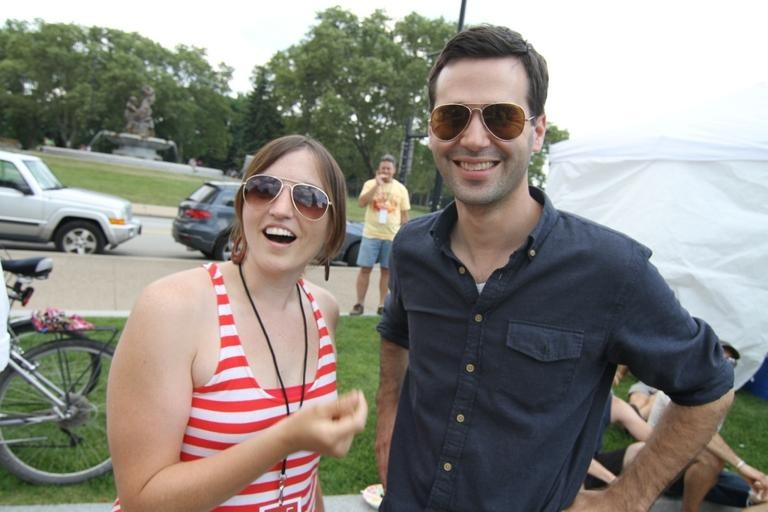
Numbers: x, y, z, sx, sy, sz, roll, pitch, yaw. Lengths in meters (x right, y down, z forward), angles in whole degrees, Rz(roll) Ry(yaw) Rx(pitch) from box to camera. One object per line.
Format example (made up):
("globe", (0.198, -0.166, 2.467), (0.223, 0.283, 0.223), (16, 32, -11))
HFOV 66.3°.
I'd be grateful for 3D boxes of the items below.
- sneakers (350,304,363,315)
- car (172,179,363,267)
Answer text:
("sneakers", (-0.421, 0.827, 9.025), (0.093, 0.115, 0.268), (1, -5, 23))
("car", (-2.100, -0.562, 11.688), (3.977, 1.557, 1.798), (1, 5, -23))
